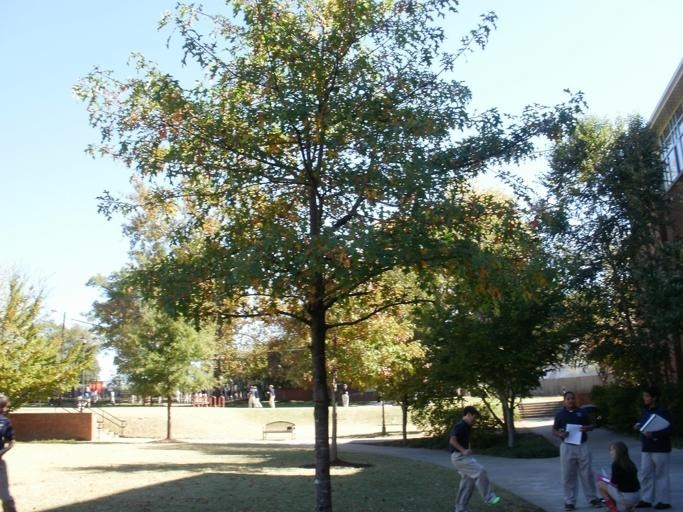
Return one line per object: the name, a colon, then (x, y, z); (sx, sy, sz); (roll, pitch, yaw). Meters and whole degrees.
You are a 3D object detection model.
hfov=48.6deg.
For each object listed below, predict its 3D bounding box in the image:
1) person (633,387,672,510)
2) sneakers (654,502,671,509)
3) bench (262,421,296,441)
person: (6.350, 3.859, 15.357); (0.847, 2.410, 1.050); (-8, -18, 17)
sneakers: (6.437, 4.937, 14.997); (0.379, 0.136, 0.277); (-2, -15, 1)
bench: (-3.135, 8.829, 38.175); (2.326, 1.045, 0.715); (-2, -34, 4)
